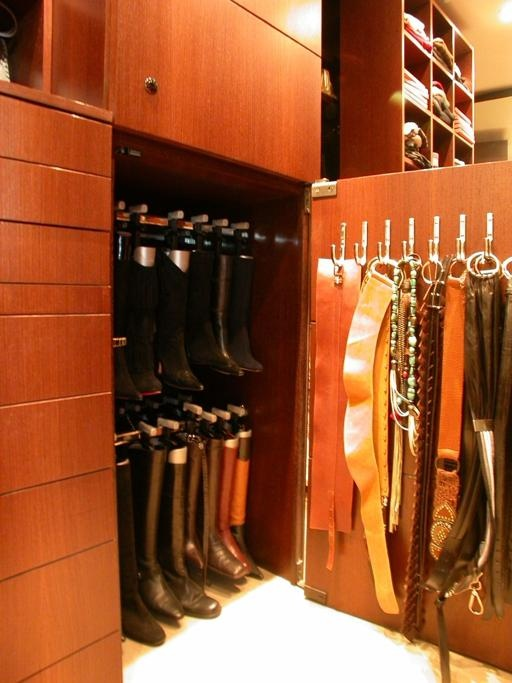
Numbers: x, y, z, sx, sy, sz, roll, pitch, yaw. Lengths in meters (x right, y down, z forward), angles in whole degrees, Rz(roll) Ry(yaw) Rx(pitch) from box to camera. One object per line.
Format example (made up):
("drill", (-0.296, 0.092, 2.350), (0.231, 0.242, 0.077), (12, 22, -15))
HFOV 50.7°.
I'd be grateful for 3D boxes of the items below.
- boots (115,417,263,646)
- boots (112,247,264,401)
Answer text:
("boots", (-0.228, 0.611, 1.722), (0.214, 0.544, 0.517), (2, 5, 23))
("boots", (-0.225, -0.077, 1.769), (0.220, 0.378, 0.456), (7, 9, 38))
